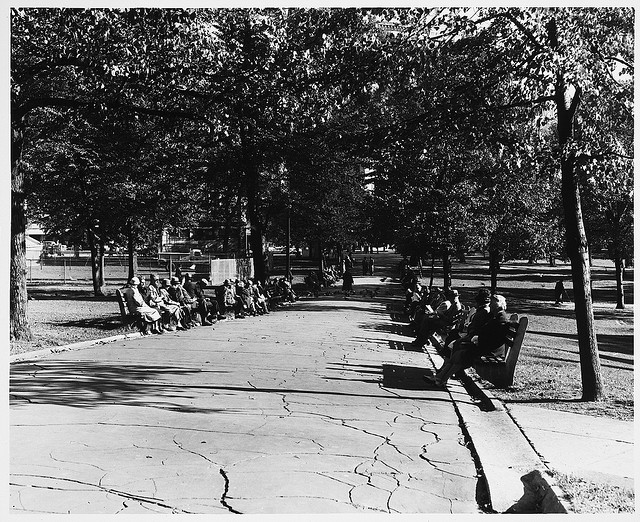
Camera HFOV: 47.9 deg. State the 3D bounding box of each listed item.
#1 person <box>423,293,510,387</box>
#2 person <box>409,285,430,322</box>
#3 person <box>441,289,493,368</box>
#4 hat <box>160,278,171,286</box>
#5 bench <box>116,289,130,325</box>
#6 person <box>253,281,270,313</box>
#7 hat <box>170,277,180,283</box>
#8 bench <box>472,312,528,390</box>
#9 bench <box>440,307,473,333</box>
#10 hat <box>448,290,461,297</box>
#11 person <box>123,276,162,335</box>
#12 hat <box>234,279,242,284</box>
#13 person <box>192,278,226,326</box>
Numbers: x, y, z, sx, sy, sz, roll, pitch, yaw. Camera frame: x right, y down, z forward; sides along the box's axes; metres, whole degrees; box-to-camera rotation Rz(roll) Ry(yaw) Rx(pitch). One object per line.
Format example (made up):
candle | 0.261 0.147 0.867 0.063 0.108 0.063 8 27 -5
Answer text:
person | 2.712 1.386 12.466 1.473 1.601 0.771 0 5 -22
person | 2.967 1.301 21.759 0.379 0.305 1.032 16 36 9
person | 2.823 1.336 14.063 0.511 0.994 1.391 4 -2 6
hat | -5.341 0.704 25.008 0.317 0.193 0.267 -6 4 0
bench | -4.845 1.130 17.851 0.321 0.534 0.774 1 8 -7
person | -1.955 1.250 24.459 0.519 0.935 1.511 2 4 -5
hat | -4.228 0.546 21.192 0.182 0.235 0.170 -2 -1 39
bench | 3.216 1.676 12.919 0.912 1.424 2.156 -1 -1 10
bench | 3.264 1.422 17.354 0.683 0.925 0.646 -4 6 5
hat | 3.133 0.749 17.072 0.216 0.169 0.768 3 4 11
person | -4.300 1.071 17.399 0.825 1.405 1.341 4 5 24
hat | -2.665 0.643 23.269 0.118 0.105 0.182 -21 9 -36
person | -3.182 1.179 20.437 0.807 1.180 1.738 2 4 -4
